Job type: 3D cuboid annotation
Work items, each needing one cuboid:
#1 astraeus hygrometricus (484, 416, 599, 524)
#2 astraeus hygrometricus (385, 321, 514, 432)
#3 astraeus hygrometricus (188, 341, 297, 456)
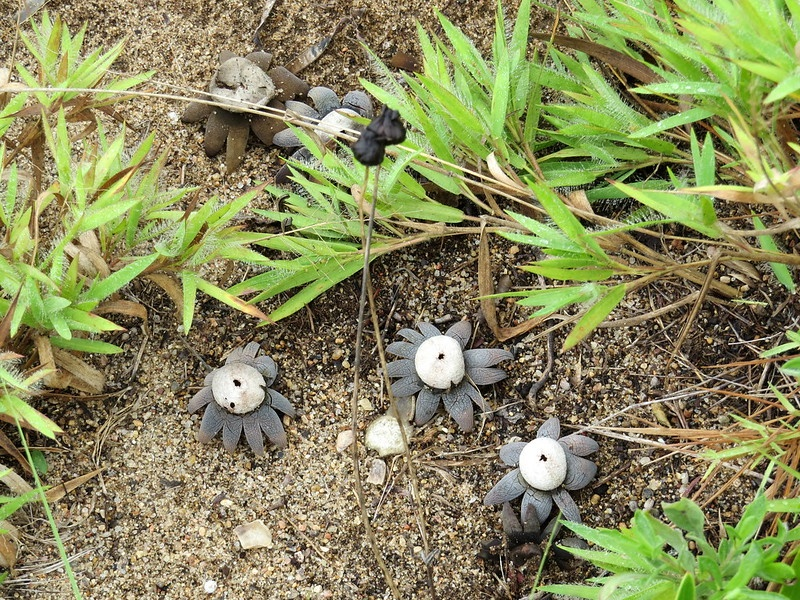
[{"bbox_3d":[0.358,0.427,2.143,0.242,0.175,0.246,24,59,10],"label":"astraeus hygrometricus"},{"bbox_3d":[0.111,0.174,2.217,0.302,0.181,0.271,30,61,13],"label":"astraeus hygrometricus"},{"bbox_3d":[-0.401,0.252,2.220,0.262,0.115,0.328,2,57,-11],"label":"astraeus hygrometricus"}]
